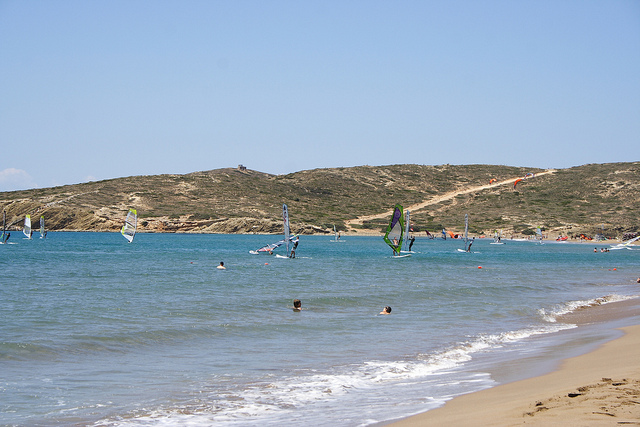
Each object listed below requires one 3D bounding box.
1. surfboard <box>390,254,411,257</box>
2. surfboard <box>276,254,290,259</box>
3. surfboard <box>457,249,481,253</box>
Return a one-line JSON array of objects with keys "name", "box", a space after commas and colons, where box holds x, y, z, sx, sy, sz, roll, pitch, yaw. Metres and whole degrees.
[{"name": "surfboard", "box": [9.021, 4.601, 79.394, 4.601, 0.321, 0.518, 4, -2, -43]}, {"name": "surfboard", "box": [-4.057, 4.628, 78.269, 1.068, 0.209, 0.346, 4, -9, 40]}, {"name": "surfboard", "box": [19.626, 4.897, 95.096, 0.485, 0.405, 3.166, -1, 4, -28]}]
